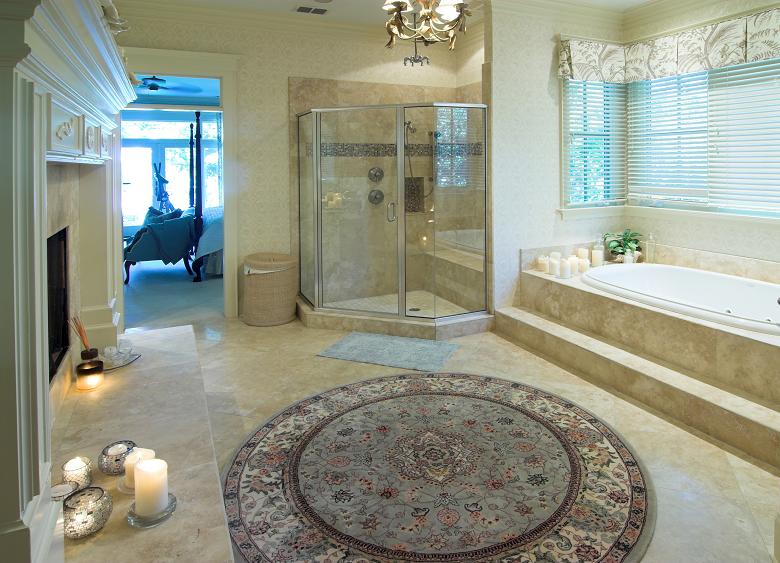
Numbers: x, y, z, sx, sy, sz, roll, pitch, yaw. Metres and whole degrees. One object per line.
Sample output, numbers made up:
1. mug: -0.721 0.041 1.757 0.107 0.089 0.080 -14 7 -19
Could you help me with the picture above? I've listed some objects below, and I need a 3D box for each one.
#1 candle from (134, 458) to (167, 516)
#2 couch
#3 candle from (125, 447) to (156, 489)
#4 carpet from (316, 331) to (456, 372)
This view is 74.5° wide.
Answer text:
1. candle: -0.976 0.823 2.102 0.143 0.193 0.176 -9 17 -27
2. couch: -3.293 -0.487 7.424 1.001 0.882 0.939 -6 5 -32
3. candle: -1.129 0.831 2.297 0.165 0.190 0.168 6 -17 -27
4. carpet: 0.009 0.619 4.632 1.115 0.036 0.733 4 16 18
